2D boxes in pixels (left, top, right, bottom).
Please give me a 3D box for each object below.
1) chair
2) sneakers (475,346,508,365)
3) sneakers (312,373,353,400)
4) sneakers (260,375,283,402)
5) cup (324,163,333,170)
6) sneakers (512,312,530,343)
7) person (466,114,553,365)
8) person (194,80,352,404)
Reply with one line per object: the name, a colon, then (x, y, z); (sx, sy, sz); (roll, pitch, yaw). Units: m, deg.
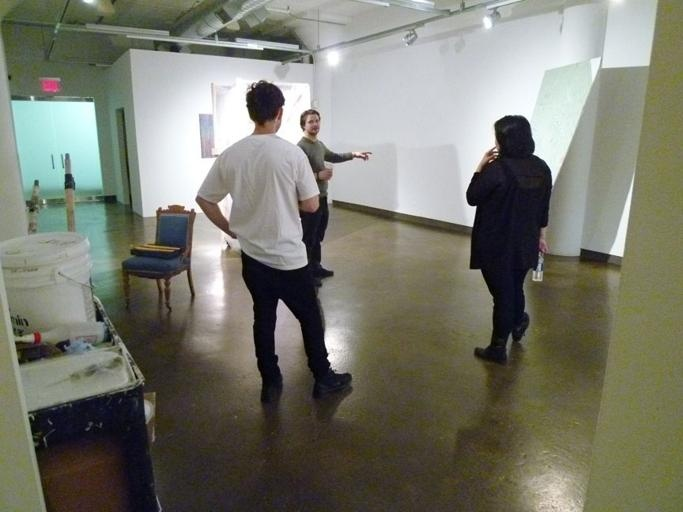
chair: (-1.813, -0.009, 4.934); (0.560, 0.946, 0.646); (4, 14, 15)
sneakers: (1.135, 0.758, 3.726); (0.070, 0.140, 0.203); (-10, 19, -31)
sneakers: (-0.062, 0.834, 3.308); (0.296, 0.138, 0.118); (-12, 17, -30)
sneakers: (-0.458, 0.873, 3.273); (0.089, 0.186, 0.190); (3, 40, 8)
cup: (-0.118, -0.801, 4.406); (0.052, 0.060, 0.068); (8, 17, -23)
sneakers: (1.423, 0.574, 3.936); (0.087, 0.259, 0.117); (27, -13, -5)
person: (1.177, -0.080, 3.543); (0.567, 1.782, 0.312); (3, 14, 13)
person: (-0.423, 0.120, 3.054); (0.846, 1.685, 0.369); (3, 14, 11)
